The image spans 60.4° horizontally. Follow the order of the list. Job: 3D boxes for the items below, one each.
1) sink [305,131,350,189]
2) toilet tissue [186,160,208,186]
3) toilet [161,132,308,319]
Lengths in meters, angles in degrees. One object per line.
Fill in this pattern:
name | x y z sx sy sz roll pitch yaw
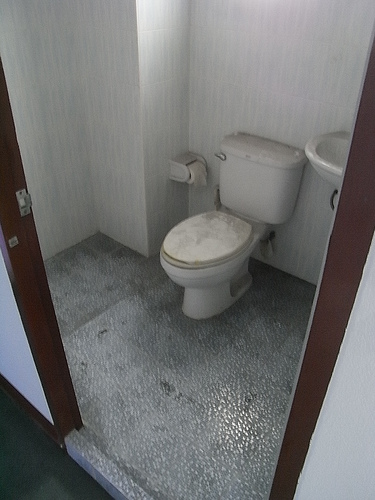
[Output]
sink | 0.650 -0.452 1.537 0.180 0.116 0.528 17 43 18
toilet tissue | 0.064 -0.521 2.227 0.174 0.167 0.091 -27 44 -32
toilet | 0.233 -0.107 1.979 0.489 0.939 0.836 29 43 36
